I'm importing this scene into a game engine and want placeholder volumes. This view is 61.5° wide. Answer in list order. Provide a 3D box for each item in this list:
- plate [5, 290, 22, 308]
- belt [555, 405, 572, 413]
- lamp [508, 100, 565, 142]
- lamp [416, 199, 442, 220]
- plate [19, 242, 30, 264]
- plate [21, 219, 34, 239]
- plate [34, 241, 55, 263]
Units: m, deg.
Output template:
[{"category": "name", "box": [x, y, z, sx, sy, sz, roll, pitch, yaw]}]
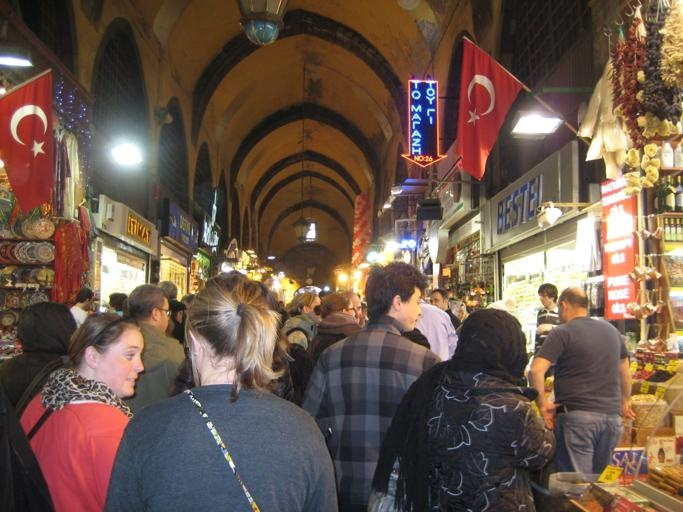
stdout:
[{"category": "plate", "box": [-4.636, 0.614, 8.085, 0.212, 0.288, 0.034, 0, -3, -7]}, {"category": "belt", "box": [1.803, 1.232, 4.656, 0.066, 0.056, 0.073, -1, -12, 2]}, {"category": "lamp", "box": [2.400, -1.685, 7.093, 0.547, 0.270, 0.611, -2, -12, 14]}, {"category": "lamp", "box": [1.906, -0.991, 12.496, 0.421, 0.330, 0.461, -2, -2, 3]}, {"category": "plate", "box": [-4.420, -0.058, 7.973, 0.049, 0.253, 0.232, 0, -9, 17]}, {"category": "plate", "box": [-4.371, -0.380, 7.955, 0.144, 0.271, 0.044, 1, -10, -1]}, {"category": "plate", "box": [-4.181, -0.057, 8.020, 0.332, 0.302, 0.068, 1, -10, 0]}]
